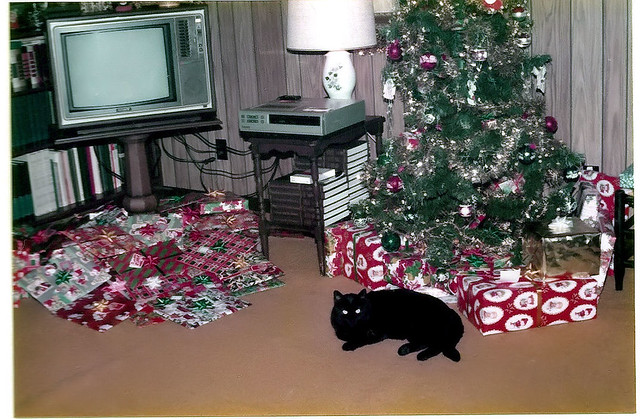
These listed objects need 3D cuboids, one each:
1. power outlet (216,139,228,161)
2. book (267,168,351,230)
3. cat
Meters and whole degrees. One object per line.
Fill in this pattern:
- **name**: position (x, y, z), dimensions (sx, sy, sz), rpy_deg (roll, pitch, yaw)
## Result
- **power outlet**: position (-0.953, -0.571, 4.811), dimensions (0.139, 0.204, 0.030), rpy_deg (5, 18, 25)
- **book**: position (-0.091, -0.085, 3.862), dimensions (0.529, 0.293, 0.514), rpy_deg (3, 11, 32)
- **cat**: position (0.431, 0.652, 2.877), dimensions (0.652, 0.243, 0.405), rpy_deg (1, 32, 3)
